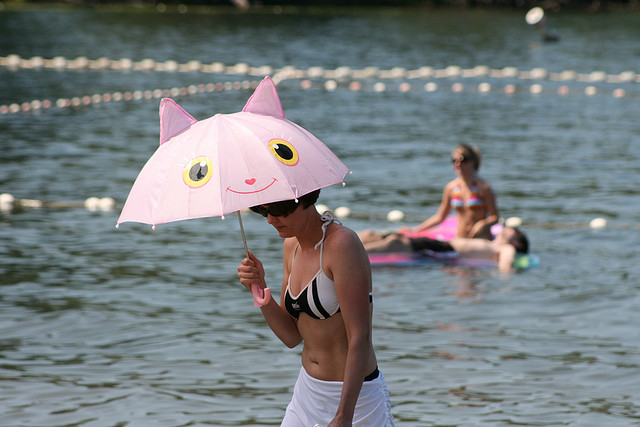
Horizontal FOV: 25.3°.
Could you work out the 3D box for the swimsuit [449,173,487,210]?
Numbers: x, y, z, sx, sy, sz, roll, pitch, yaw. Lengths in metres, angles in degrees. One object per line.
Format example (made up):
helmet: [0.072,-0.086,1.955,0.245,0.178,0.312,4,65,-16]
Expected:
swimsuit: [3.096,-0.414,30.163,0.808,0.739,0.298,1,14,7]

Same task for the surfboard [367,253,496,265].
surfboard: [2.263,0.968,29.618,2.012,0.198,0.283,1,-14,-4]

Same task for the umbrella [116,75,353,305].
umbrella: [-1.600,-0.970,24.596,3.495,2.247,0.974,-2,14,-4]
